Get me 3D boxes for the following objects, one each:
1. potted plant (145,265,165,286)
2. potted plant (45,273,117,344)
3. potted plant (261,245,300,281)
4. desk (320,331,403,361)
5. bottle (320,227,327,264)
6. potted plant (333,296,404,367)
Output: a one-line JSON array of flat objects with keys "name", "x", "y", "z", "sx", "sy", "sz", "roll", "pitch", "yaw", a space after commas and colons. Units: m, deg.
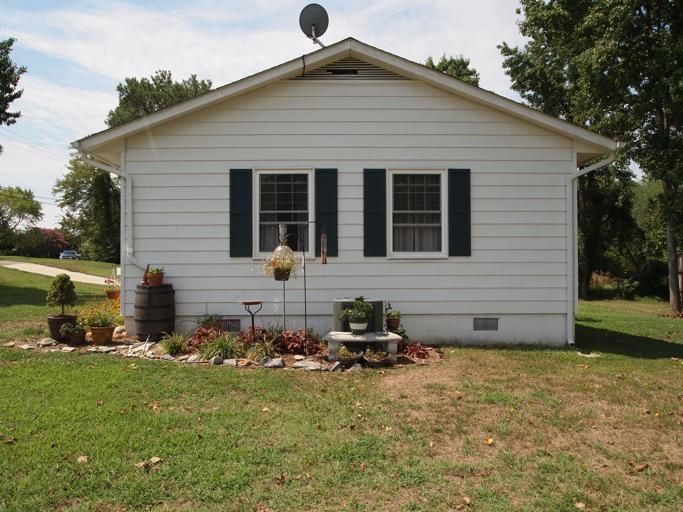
[{"name": "potted plant", "x": -3.979, "y": 0.435, "z": 14.343, "sx": 0.341, "sy": 0.321, "sz": 0.334, "roll": 2, "pitch": -6, "yaw": -21}, {"name": "potted plant", "x": -5.715, "y": 1.202, "z": 14.830, "sx": 1.600, "sy": 1.572, "sz": 1.321, "roll": 1, "pitch": -5, "yaw": -7}, {"name": "potted plant", "x": -1.365, "y": 0.115, "z": 14.299, "sx": 0.742, "sy": 0.854, "sz": 0.750, "roll": -2, "pitch": 5, "yaw": -31}, {"name": "desk", "x": 0.411, "y": 1.778, "z": 13.400, "sx": 1.438, "sy": 0.545, "sz": 0.605, "roll": 0, "pitch": -3, "yaw": -5}, {"name": "bottle", "x": -0.382, "y": -0.236, "z": 14.510, "sx": 0.160, "sy": 0.790, "sz": 0.343, "roll": 0, "pitch": -3, "yaw": -3}, {"name": "potted plant", "x": 0.438, "y": 1.540, "z": 13.511, "sx": 1.232, "sy": 0.996, "sz": 1.219, "roll": 0, "pitch": -3, "yaw": 2}]
